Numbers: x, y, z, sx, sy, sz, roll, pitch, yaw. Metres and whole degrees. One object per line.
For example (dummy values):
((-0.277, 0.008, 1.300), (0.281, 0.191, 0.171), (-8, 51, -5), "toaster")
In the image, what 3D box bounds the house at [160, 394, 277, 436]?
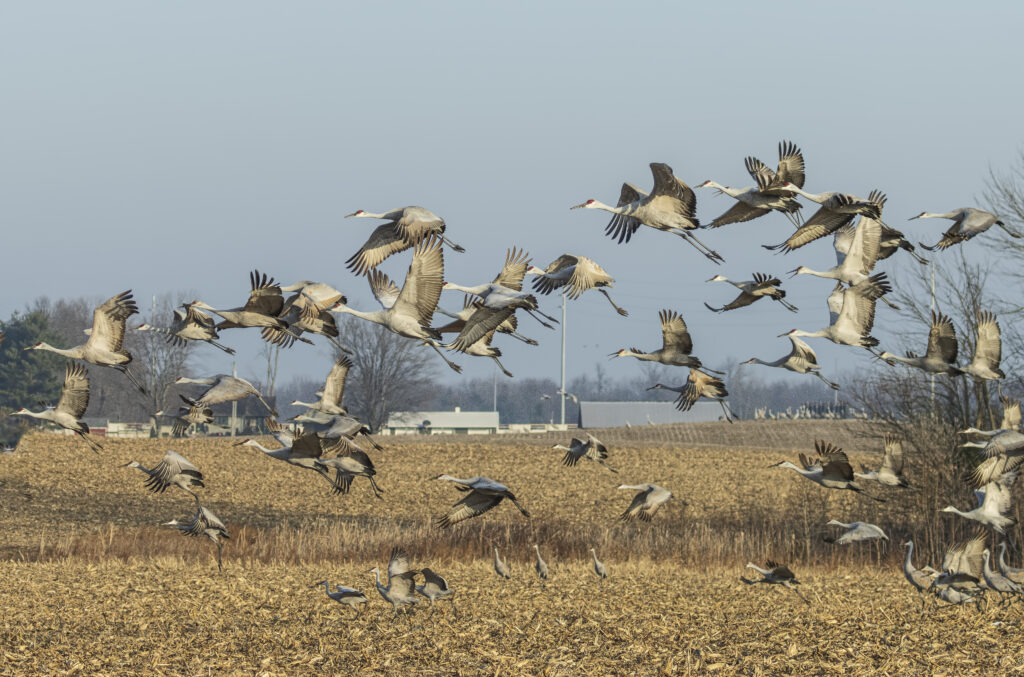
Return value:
((-14.598, 3.804, 98.235), (3.248, 1.660, 4.677), (3, 15, 0), "house")

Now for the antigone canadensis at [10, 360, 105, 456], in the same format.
((-13.684, 1.655, 59.577), (2.728, 1.309, 3.597), (-1, -18, -10), "antigone canadensis")
